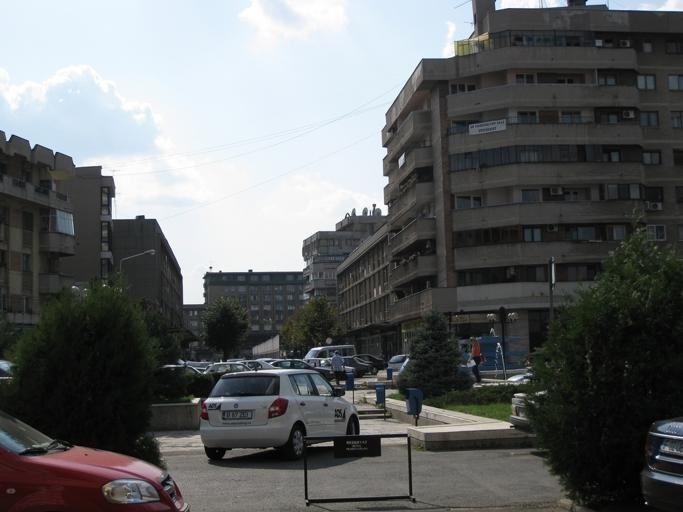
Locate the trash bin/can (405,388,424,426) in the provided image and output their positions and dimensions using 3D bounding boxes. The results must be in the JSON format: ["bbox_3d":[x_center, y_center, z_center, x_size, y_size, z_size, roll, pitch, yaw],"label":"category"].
[{"bbox_3d":[1.829,3.668,23.504,0.292,1.044,0.487,0,19,1],"label":"trash bin/can"}]

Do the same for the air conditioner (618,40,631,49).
[{"bbox_3d":[17.793,-13.419,59.550,0.697,0.495,0.142,-3,-9,4],"label":"air conditioner"}]

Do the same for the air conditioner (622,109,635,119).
[{"bbox_3d":[17.227,-8.562,57.125,0.494,0.449,0.552,-1,-6,-1],"label":"air conditioner"}]

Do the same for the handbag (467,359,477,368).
[{"bbox_3d":[4.451,3.691,32.706,0.330,0.270,0.118,-1,2,-40],"label":"handbag"}]

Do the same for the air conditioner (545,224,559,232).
[{"bbox_3d":[12.414,-1.649,55.920,0.513,0.600,0.340,0,5,10],"label":"air conditioner"}]

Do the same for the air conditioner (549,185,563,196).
[{"bbox_3d":[12.820,-3.889,56.658,0.516,0.605,0.555,1,-5,5],"label":"air conditioner"}]

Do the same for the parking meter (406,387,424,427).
[{"bbox_3d":[1.828,3.643,23.507,0.345,1.041,0.488,2,21,7],"label":"parking meter"}]

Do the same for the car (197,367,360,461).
[{"bbox_3d":[-1.096,3.238,20.165,1.622,1.477,3.209,-5,-7,31],"label":"car"}]
